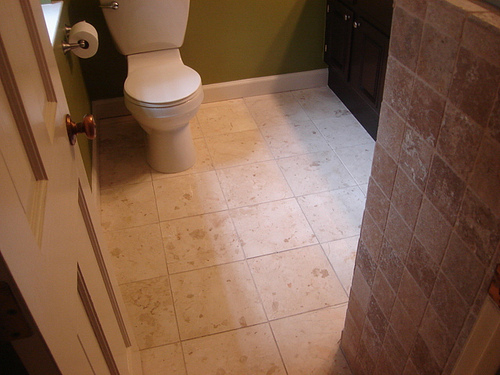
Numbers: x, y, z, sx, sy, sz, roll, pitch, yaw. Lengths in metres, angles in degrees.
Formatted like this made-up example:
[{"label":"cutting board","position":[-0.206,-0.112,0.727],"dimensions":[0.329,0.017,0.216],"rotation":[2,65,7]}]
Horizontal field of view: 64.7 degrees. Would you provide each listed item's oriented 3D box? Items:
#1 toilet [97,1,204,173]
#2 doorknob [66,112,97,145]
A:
[{"label":"toilet","position":[-0.516,-0.633,2.437],"dimensions":[0.519,0.821,0.670],"rotation":[-16,48,-15]},{"label":"doorknob","position":[-0.428,-0.159,1.021],"dimensions":[0.063,0.090,0.073],"rotation":[-2,34,-6]}]
